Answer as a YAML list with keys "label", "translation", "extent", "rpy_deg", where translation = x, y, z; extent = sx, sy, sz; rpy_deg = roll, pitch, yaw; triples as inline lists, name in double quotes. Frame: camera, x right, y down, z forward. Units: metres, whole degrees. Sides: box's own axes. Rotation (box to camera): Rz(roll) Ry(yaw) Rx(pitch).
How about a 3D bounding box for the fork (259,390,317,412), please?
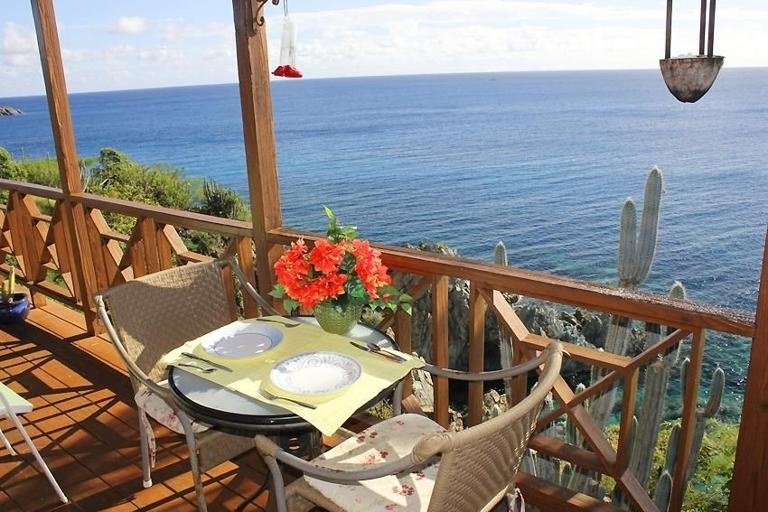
- label: "fork"
  translation: [-0.335, 0.512, 1.766]
  extent: [0.167, 0.023, 0.023]
  rpy_deg: [11, 64, 17]

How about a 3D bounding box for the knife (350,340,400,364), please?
- label: "knife"
  translation: [-0.027, 0.379, 2.005]
  extent: [0.237, 0.024, 0.059]
  rpy_deg: [11, 40, 31]

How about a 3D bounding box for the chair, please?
- label: "chair"
  translation: [-0.360, 0.561, 2.229]
  extent: [1.551, 0.681, 0.675]
  rpy_deg: [15, 31, 30]

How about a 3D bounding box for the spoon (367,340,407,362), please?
- label: "spoon"
  translation: [0.006, 0.374, 2.013]
  extent: [0.192, 0.030, 0.056]
  rpy_deg: [24, 27, 39]

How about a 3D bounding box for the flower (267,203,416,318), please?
- label: "flower"
  translation: [-0.167, 0.066, 2.210]
  extent: [0.547, 0.326, 0.511]
  rpy_deg: [11, -2, 2]

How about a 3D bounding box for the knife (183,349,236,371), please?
- label: "knife"
  translation: [-0.680, 0.412, 1.971]
  extent: [0.239, 0.012, 0.025]
  rpy_deg: [13, 32, 24]
